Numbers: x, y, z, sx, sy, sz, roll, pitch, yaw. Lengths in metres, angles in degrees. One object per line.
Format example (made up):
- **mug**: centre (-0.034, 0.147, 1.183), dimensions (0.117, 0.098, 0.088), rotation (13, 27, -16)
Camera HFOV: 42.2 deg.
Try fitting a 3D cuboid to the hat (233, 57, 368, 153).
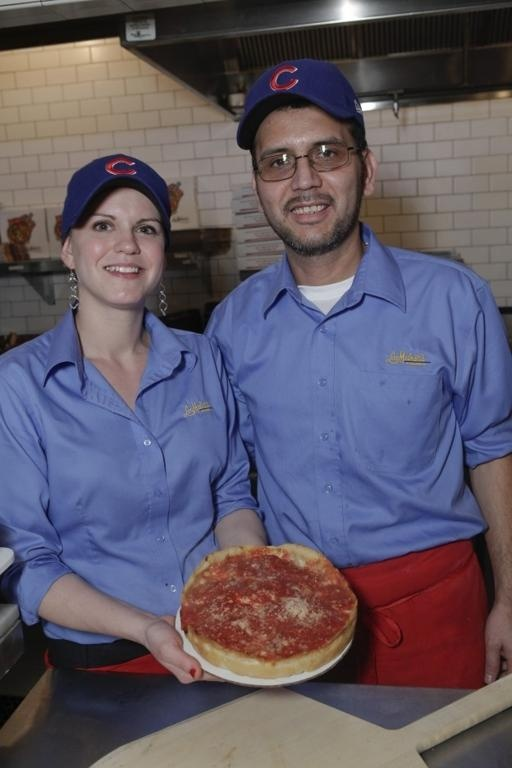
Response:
- **hat**: centre (0.100, -0.618, 1.418), dimensions (0.225, 0.152, 0.312), rotation (1, 12, 24)
